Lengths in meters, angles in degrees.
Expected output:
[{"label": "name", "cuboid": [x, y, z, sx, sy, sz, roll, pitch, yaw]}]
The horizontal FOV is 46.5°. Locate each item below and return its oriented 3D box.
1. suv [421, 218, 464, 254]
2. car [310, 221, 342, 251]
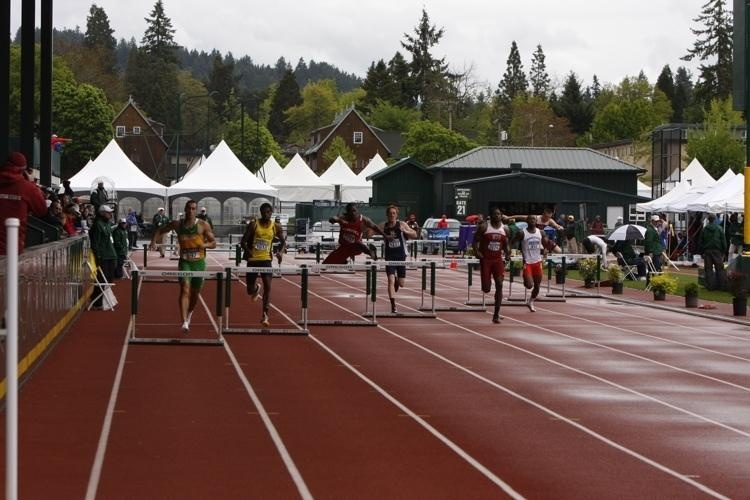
[{"label": "suv", "cuboid": [3.625, -0.837, 48.803, 1.362, 1.322, 2.699, 0, -2, -12]}, {"label": "car", "cuboid": [-2.459, -0.696, 42.685, 1.347, 1.389, 2.016, 0, -2, -5]}]
